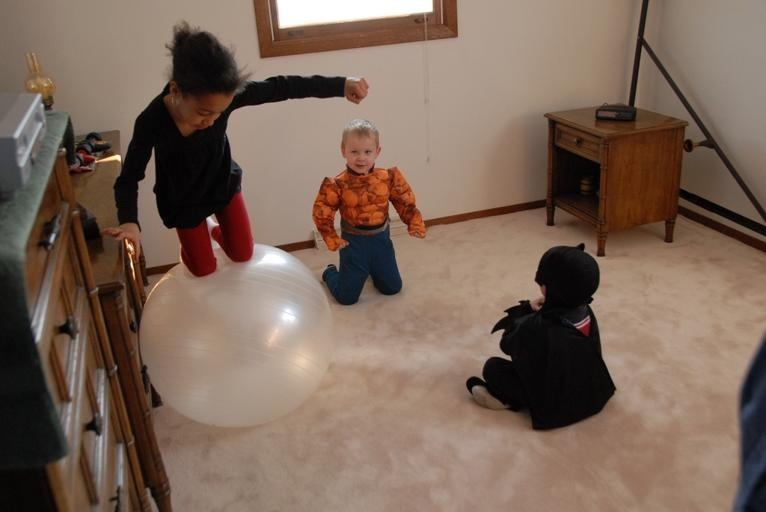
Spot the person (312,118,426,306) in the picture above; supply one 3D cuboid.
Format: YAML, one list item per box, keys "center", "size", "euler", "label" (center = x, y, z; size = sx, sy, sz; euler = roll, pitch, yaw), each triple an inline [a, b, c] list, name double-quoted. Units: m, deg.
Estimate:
- center: [-0.116, -0.280, 3.594]
  size: [0.763, 1.333, 0.730]
  euler: [-13, 29, -20]
  label: "person"

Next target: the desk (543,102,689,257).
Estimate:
- center: [1.671, -0.579, 4.040]
  size: [0.676, 0.834, 0.873]
  euler: [-14, 29, -18]
  label: "desk"

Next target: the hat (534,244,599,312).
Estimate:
- center: [0.800, 0.071, 2.574]
  size: [0.243, 0.284, 0.289]
  euler: [-9, 34, -10]
  label: "hat"

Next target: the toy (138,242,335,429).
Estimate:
- center: [-0.589, 0.303, 2.483]
  size: [0.730, 0.566, 0.755]
  euler: [13, 18, 34]
  label: "toy"
